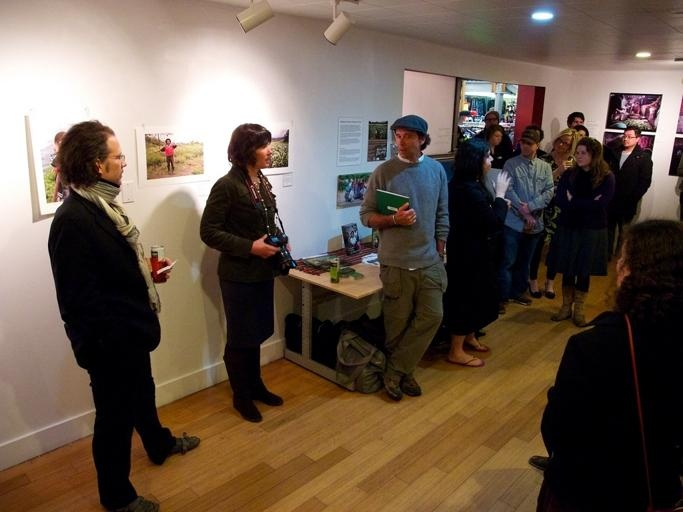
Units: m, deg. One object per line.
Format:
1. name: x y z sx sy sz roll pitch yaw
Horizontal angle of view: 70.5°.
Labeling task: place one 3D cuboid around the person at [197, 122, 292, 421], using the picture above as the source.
1. person: -0.651 0.134 3.353 0.555 2.027 0.435 -9 17 -25

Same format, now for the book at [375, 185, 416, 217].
1. book: 0.399 -0.398 3.484 0.227 0.232 0.031 16 49 22

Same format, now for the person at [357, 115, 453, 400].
1. person: 0.541 0.008 3.713 0.649 2.095 0.491 -9 16 -23

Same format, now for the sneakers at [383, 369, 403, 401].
1. sneakers: 0.389 0.988 3.695 0.094 0.188 0.267 -5 10 -32

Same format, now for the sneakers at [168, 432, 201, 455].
1. sneakers: -1.012 1.204 3.134 0.193 0.083 0.075 -13 32 -41

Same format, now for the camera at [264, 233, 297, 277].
1. camera: -0.397 -0.013 3.301 0.107 0.262 0.239 -11 8 33

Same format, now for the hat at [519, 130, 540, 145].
1. hat: 1.941 -1.219 4.996 0.132 0.149 0.191 21 21 14

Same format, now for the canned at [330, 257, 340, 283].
1. canned: -0.054 0.106 3.828 0.080 0.173 0.185 -3 15 -2

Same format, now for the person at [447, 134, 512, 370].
1. person: 1.118 -0.012 4.098 0.393 1.914 0.717 11 20 41

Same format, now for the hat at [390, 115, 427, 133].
1. hat: 0.496 -0.924 3.489 0.196 0.079 0.154 10 11 -28

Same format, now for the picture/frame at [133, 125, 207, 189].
1. picture/frame: -1.189 -0.684 3.300 0.019 0.318 0.448 13 18 38

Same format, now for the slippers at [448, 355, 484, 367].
1. slippers: 1.071 0.919 4.202 0.229 0.049 0.116 6 23 25

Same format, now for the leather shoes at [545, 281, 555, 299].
1. leather shoes: 2.484 0.390 5.745 0.097 0.113 0.283 1 19 14

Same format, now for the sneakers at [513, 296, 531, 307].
1. sneakers: 2.053 0.496 5.503 0.218 0.089 0.105 11 27 29

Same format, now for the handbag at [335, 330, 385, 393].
1. handbag: 0.141 0.854 3.802 0.294 0.303 0.223 -43 -17 -9

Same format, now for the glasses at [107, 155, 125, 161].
1. glasses: -1.166 -0.507 2.496 0.097 0.030 0.096 5 12 12
